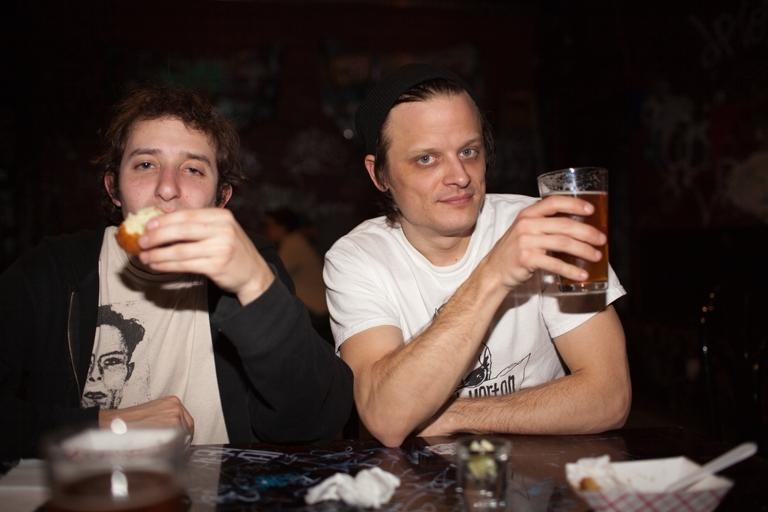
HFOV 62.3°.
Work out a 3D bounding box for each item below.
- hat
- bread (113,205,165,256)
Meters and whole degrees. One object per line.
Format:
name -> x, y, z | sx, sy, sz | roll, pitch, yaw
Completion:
hat -> 0.066, -0.884, 3.656 | 0.485, 0.326, 0.584 | -12, -14, -45
bread -> -1.114, -0.130, 2.861 | 0.221, 0.080, 0.215 | -37, 23, 30
